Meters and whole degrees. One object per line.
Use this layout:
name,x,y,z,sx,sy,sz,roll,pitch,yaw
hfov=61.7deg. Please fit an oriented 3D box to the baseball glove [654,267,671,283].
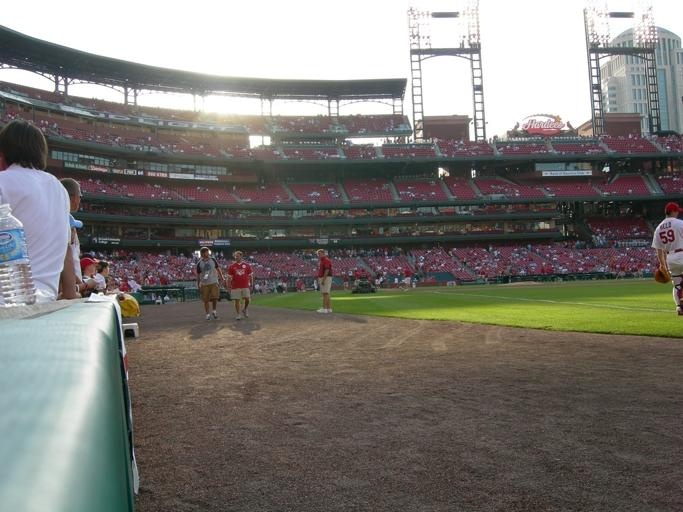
baseball glove,5.192,0.307,9.296,0.223,0.246,0.188,-3,-1,41

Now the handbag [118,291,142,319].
handbag,-1.209,0.285,3.245,0.101,0.106,0.248,-2,0,-22

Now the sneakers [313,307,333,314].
sneakers,-0.496,1.517,15.722,0.384,0.152,0.143,2,-1,15
